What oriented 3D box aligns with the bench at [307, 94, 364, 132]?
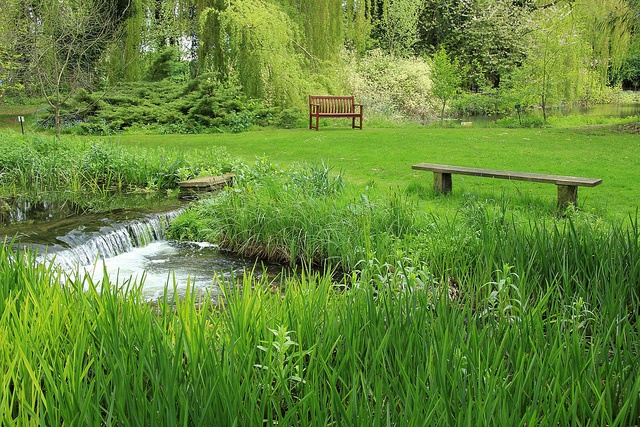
[{"bbox_3d":[0.495,-3.461,19.969,1.743,1.127,1.816,-3,11,-8],"label":"bench"}]
